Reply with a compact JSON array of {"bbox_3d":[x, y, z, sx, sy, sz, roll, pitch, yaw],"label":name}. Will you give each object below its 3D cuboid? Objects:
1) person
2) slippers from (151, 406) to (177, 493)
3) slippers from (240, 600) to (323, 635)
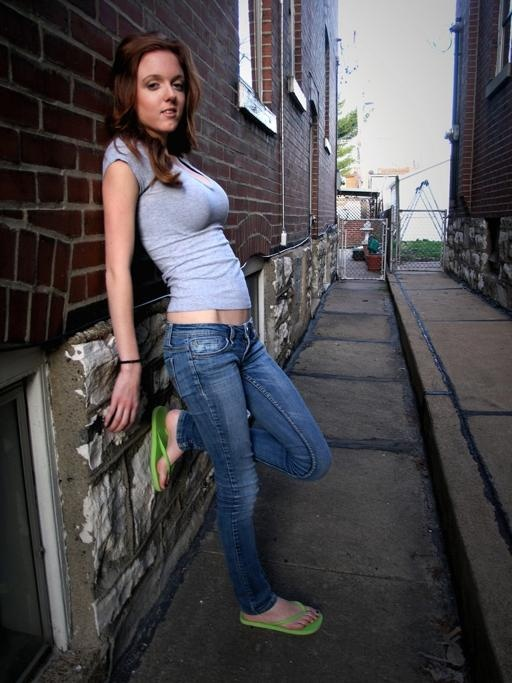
[{"bbox_3d":[-0.119,0.098,1.367,0.654,1.844,0.252,-4,7,-25],"label":"person"},{"bbox_3d":[-0.322,0.349,1.515,0.063,0.267,0.089,0,-5,29],"label":"slippers"},{"bbox_3d":[0.100,0.923,1.547,0.238,0.065,0.137,0,21,10],"label":"slippers"}]
